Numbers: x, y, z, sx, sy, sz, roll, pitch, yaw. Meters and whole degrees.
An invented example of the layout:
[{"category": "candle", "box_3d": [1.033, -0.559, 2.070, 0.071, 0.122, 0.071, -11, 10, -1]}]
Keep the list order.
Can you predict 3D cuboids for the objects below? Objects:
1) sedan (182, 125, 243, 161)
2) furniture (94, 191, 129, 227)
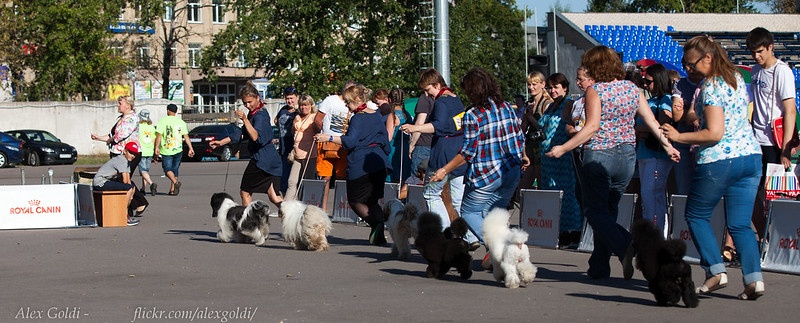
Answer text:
[{"category": "sedan", "box_3d": [-13.060, -1.314, 61.029, 3.317, 2.402, 7.598, -1, 2, 13]}, {"category": "furniture", "box_3d": [-12.363, 2.240, 37.738, 1.454, 1.751, 1.878, -1, 3, -26]}]
